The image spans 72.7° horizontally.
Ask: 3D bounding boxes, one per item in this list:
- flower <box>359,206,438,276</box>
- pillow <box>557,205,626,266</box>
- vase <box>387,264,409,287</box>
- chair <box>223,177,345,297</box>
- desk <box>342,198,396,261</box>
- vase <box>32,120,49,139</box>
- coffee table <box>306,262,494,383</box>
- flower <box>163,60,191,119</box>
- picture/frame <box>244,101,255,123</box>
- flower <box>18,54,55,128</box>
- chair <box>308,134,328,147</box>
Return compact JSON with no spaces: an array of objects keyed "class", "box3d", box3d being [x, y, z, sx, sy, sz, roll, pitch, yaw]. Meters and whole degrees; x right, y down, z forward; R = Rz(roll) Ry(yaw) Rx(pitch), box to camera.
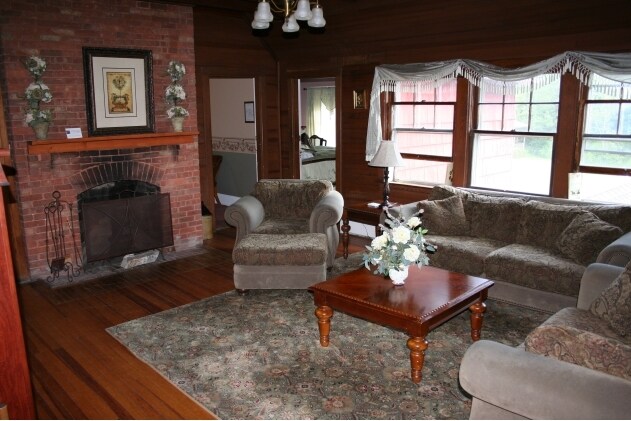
[{"class":"flower","box3d":[0.739,0.257,4.017,0.742,0.663,0.704,-1,17,2]},{"class":"pillow","box3d":[2.713,0.256,4.327,0.428,0.474,0.483,-2,14,-7]},{"class":"vase","box3d":[0.740,0.577,3.867,0.201,0.178,0.191,-4,7,-37]},{"class":"chair","box3d":[-0.375,0.232,5.446,1.464,0.932,1.607,2,22,10]},{"class":"desk","box3d":[0.697,0.181,6.012,0.878,0.735,0.854,10,18,34]},{"class":"vase","box3d":[-3.237,-0.946,5.064,0.236,0.178,0.214,2,4,-5]},{"class":"coffee table","box3d":[0.886,0.737,3.828,1.201,0.506,1.199,7,11,44]},{"class":"flower","box3d":[-1.952,-1.694,6.046,0.356,0.807,0.264,-8,17,-29]},{"class":"picture/frame","box3d":[-1.244,-1.856,8.060,0.472,0.470,0.022,7,12,42]},{"class":"flower","box3d":[-3.289,-1.398,5.053,0.318,0.824,0.262,-8,17,-28]},{"class":"chair","box3d":[0.055,-1.712,10.635,0.372,0.411,0.331,-3,8,-18]}]
